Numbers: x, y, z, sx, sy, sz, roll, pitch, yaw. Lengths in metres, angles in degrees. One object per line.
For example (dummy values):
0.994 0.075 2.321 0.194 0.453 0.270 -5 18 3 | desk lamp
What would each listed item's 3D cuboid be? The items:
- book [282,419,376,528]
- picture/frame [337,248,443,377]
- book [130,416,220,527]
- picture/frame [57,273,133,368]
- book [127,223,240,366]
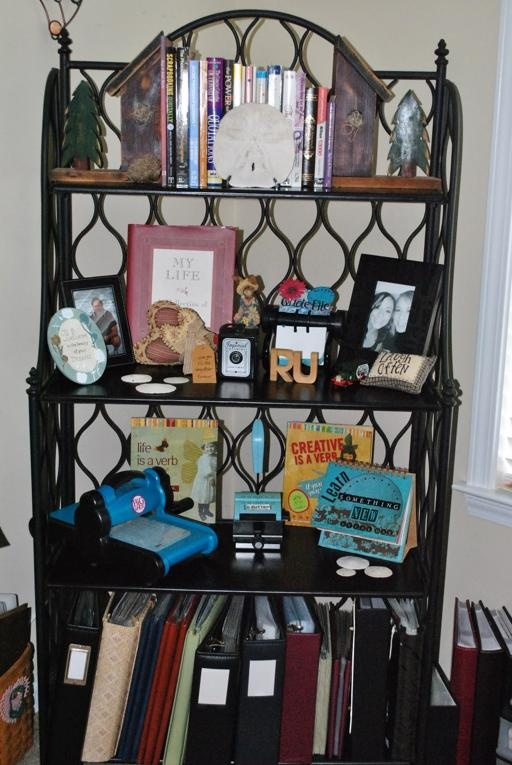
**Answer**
0.157 0.205 1.407 0.209 0.290 0.032 3 1 6 | book
0.280 -0.136 1.324 0.222 0.354 0.024 13 -1 34 | picture/frame
-0.180 0.191 1.387 0.216 0.307 0.032 1 9 1 | book
-0.331 -0.121 1.321 0.175 0.258 0.025 -7 -2 -43 | picture/frame
-0.157 -0.188 1.394 0.283 0.408 0.051 0 -3 0 | book
